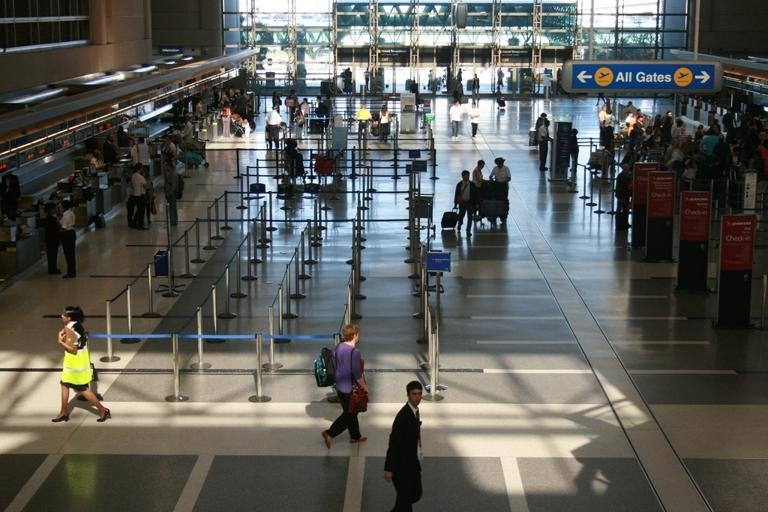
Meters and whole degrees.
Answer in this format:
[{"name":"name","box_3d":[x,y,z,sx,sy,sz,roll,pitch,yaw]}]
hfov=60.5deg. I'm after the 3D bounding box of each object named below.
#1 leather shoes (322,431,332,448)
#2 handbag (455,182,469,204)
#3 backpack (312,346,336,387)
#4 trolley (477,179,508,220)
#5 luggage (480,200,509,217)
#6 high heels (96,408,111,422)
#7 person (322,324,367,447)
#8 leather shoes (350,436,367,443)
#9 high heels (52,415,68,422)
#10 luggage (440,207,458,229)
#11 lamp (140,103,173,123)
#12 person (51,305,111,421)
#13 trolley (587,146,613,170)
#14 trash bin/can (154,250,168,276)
[{"name":"leather shoes","box_3d":[-0.798,2.531,9.105,0.103,0.256,0.096,-10,5,13]},{"name":"handbag","box_3d":[2.327,-1.897,19.516,0.402,0.616,0.241,2,14,9]},{"name":"backpack","box_3d":[-0.805,1.541,9.123,0.293,0.516,0.383,-4,8,-14]},{"name":"trolley","box_3d":[3.269,-1.617,19.752,0.921,1.119,1.111,1,5,1]},{"name":"luggage","box_3d":[3.207,-1.407,19.301,0.716,0.507,0.477,-1,12,4]},{"name":"high heels","box_3d":[-4.136,2.367,9.758,0.100,0.140,0.292,-2,-5,9]},{"name":"person","box_3d":[-0.554,1.779,9.051,0.595,1.764,0.581,-2,14,-4]},{"name":"leather shoes","box_3d":[-0.355,2.581,9.316,0.241,0.092,0.084,-4,14,-5]},{"name":"high heels","box_3d":[-4.723,2.395,9.717,0.254,0.101,0.085,1,32,-1]},{"name":"luggage","box_3d":[1.877,-1.135,19.306,0.585,0.800,0.448,1,1,-3]},{"name":"lamp","box_3d":[-11.018,-6.968,31.859,0.615,0.399,4.028,-31,28,-26]},{"name":"person","box_3d":[-4.489,1.590,9.635,0.799,1.698,0.431,-4,14,-12]},{"name":"trolley","box_3d":[7.975,-3.704,24.489,0.912,0.841,0.891,0,5,10]},{"name":"trash bin/can","box_3d":[-4.625,0.139,13.734,0.265,0.430,0.422,-5,15,-16]}]
